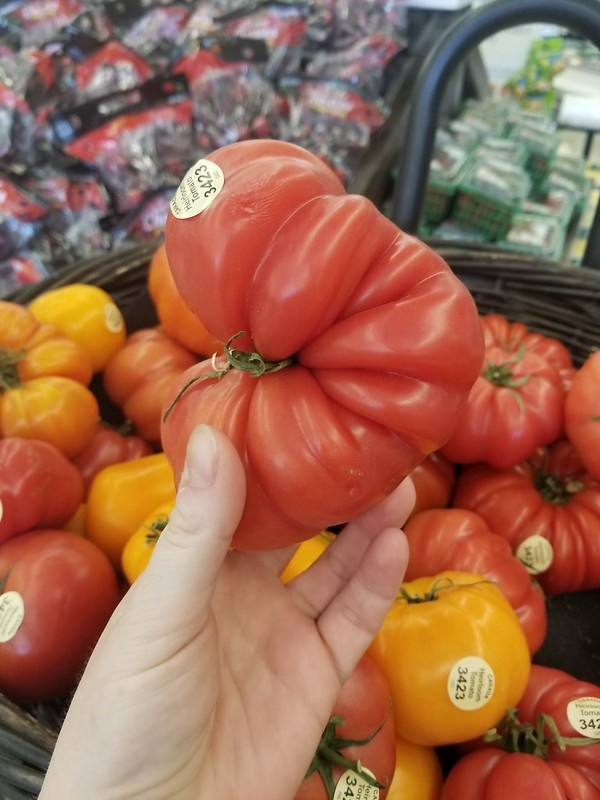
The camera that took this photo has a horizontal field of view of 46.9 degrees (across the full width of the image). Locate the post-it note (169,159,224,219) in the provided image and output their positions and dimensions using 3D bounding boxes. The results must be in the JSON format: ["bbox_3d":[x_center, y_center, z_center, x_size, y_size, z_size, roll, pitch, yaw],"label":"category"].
[{"bbox_3d":[-0.099,-0.215,0.728,0.066,0.017,0.064,3,77,37],"label":"post-it note"}]

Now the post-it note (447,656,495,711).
[{"bbox_3d":[0.236,0.391,0.952,0.062,0.048,0.060,8,44,12],"label":"post-it note"}]

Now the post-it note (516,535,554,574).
[{"bbox_3d":[0.403,0.265,1.181,0.069,0.062,0.042,-6,-7,34],"label":"post-it note"}]
